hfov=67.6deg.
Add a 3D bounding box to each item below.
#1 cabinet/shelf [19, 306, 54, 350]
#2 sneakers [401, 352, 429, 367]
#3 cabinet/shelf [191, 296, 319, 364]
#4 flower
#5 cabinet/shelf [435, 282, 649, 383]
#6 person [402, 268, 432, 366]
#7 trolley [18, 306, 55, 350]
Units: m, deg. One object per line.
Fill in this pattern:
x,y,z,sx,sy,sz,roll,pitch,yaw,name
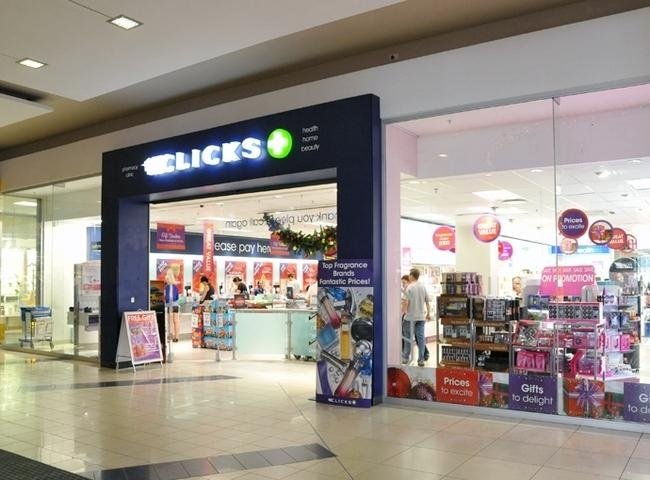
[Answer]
-6.796,2.047,11.662,0.643,0.857,0.591,3,2,37,cabinet/shelf
1.257,1.700,6.954,0.283,0.095,0.181,1,8,17,sneakers
-1.402,2.005,10.336,1.803,0.729,1.814,3,-4,-32,cabinet/shelf
-0.472,-0.103,9.205,1.495,0.897,0.286,-2,-4,26,flower
2.765,1.171,6.638,2.532,1.206,0.907,-3,-4,36,cabinet/shelf
1.450,1.141,7.829,0.450,1.325,1.852,-1,-3,11,person
-6.939,2.063,11.736,0.665,0.877,0.587,0,-1,33,trolley
